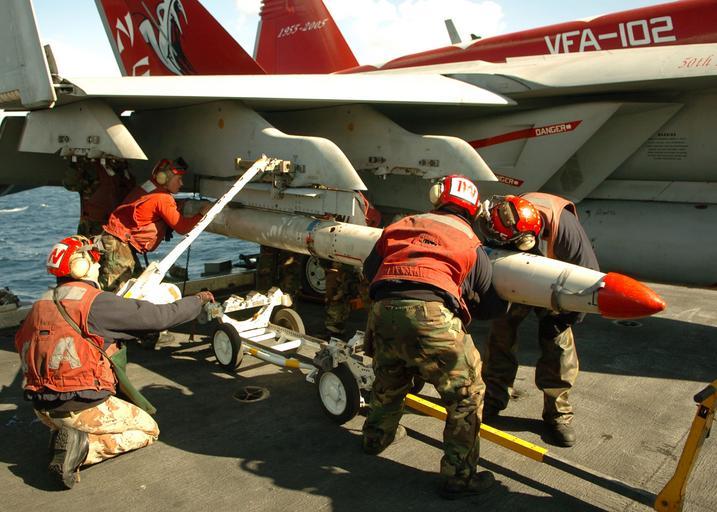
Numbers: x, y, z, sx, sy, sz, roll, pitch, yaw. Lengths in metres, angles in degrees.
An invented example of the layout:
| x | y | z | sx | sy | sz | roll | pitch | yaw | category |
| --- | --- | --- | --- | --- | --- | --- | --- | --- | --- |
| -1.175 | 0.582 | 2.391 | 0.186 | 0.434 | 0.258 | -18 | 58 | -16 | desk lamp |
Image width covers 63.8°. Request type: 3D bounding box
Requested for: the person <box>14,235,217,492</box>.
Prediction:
| x | y | z | sx | sy | sz | roll | pitch | yaw | category |
| --- | --- | --- | --- | --- | --- | --- | --- | --- | --- |
| -2.387 | 0.936 | 5.278 | 1.104 | 2.162 | 0.835 | -9 | 19 | -42 | person |

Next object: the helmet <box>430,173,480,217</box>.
| x | y | z | sx | sy | sz | roll | pitch | yaw | category |
| --- | --- | --- | --- | --- | --- | --- | --- | --- | --- |
| 0.840 | -0.593 | 5.437 | 0.552 | 0.331 | 0.464 | 19 | 16 | -8 | helmet |
